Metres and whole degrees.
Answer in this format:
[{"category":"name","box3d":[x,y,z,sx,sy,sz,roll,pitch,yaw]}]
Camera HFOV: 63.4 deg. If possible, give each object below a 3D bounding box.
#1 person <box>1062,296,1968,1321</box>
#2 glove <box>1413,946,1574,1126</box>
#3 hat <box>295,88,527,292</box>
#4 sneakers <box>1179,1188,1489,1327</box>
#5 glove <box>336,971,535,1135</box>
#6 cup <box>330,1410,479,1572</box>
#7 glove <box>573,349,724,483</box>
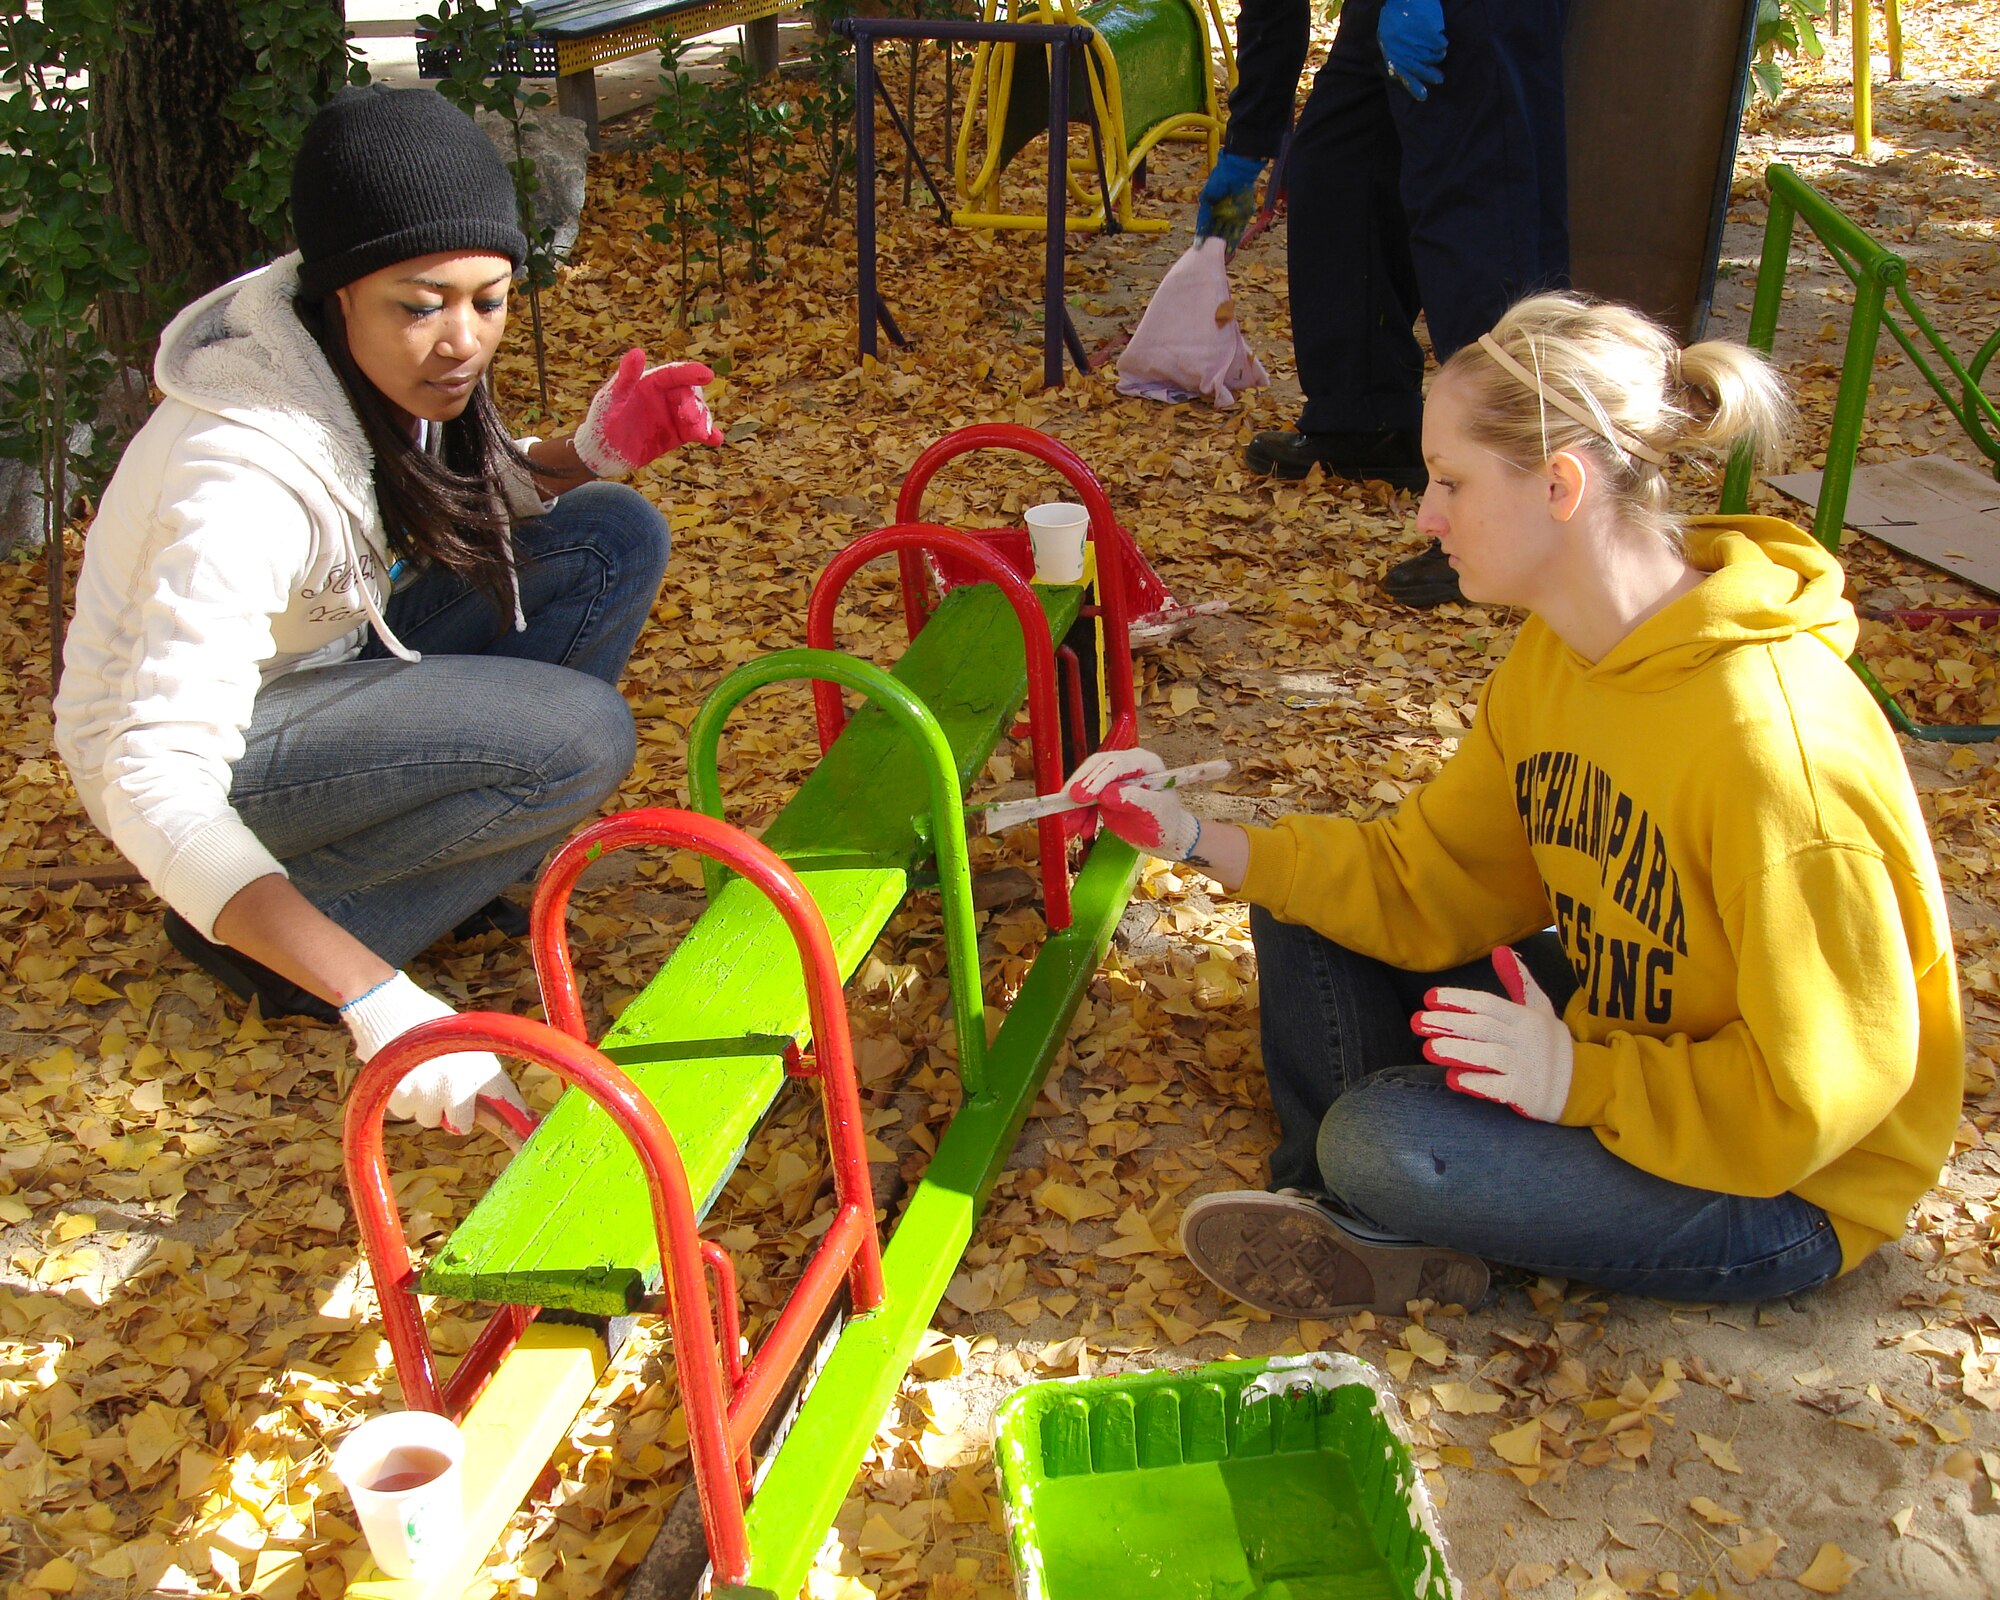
[{"category":"person","box3d":[0.752,0.060,2.158,0.985,1.370,0.654,0,28,10]},{"category":"glove","box3d":[0.636,0.302,2.091,0.199,0.221,0.117,-4,28,2]},{"category":"hat","box3d":[-0.831,-0.860,2.274,0.303,0.259,0.220,-18,29,-25]},{"category":"sneakers","box3d":[0.492,0.647,2.298,0.434,0.103,0.182,6,27,16]},{"category":"glove","box3d":[-0.675,0.312,1.905,0.267,0.149,0.075,42,14,16]},{"category":"cup","box3d":[-0.596,0.711,1.669,0.116,0.132,0.138,-17,29,-23]},{"category":"glove","box3d":[-0.628,-0.698,2.924,0.301,0.192,0.133,-7,-4,28]}]
